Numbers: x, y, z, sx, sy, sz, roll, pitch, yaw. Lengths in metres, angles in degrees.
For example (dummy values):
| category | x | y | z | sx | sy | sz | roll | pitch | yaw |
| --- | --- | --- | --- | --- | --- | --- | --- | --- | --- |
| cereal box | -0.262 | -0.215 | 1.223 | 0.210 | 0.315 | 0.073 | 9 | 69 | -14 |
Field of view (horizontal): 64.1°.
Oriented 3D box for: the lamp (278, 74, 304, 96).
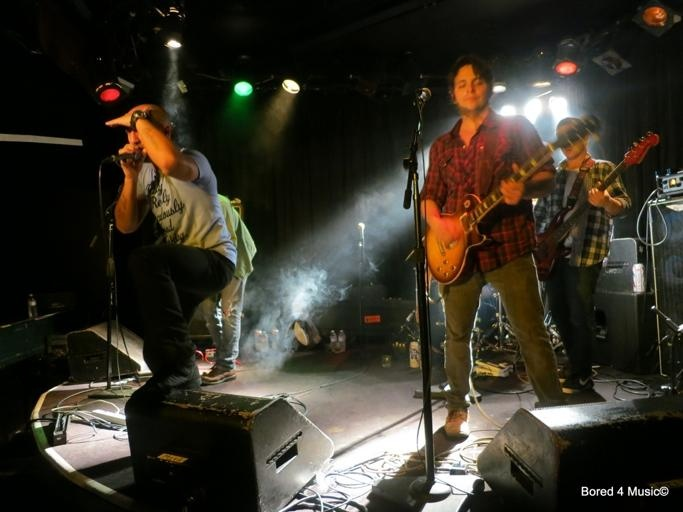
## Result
| category | x | y | z | sx | sy | sz | roll | pitch | yaw |
| --- | --- | --- | --- | --- | --- | --- | --- | --- | --- |
| lamp | -0.698 | -2.333 | 7.363 | 0.228 | 0.057 | 0.242 | 2 | -31 | 11 |

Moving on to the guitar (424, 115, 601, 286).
| category | x | y | z | sx | sy | sz | roll | pitch | yaw |
| --- | --- | --- | --- | --- | --- | --- | --- | --- | --- |
| guitar | 1.304 | -0.382 | 4.133 | 0.192 | 0.529 | 1.368 | 5 | -29 | -32 |

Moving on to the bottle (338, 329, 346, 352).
| category | x | y | z | sx | sy | sz | roll | pitch | yaw |
| --- | --- | --- | --- | --- | --- | --- | --- | --- | --- |
| bottle | -0.008 | 1.029 | 6.609 | 0.086 | 0.244 | 0.221 | -2 | -6 | 0 |

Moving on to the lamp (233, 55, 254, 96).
| category | x | y | z | sx | sy | sz | roll | pitch | yaw |
| --- | --- | --- | --- | --- | --- | --- | --- | --- | --- |
| lamp | -1.273 | -2.348 | 7.008 | 0.260 | 0.402 | 0.477 | -1 | -6 | -10 |

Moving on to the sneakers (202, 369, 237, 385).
| category | x | y | z | sx | sy | sz | roll | pitch | yaw |
| --- | --- | --- | --- | --- | --- | --- | --- | --- | --- |
| sneakers | -1.219 | 1.195 | 5.444 | 0.319 | 0.147 | 0.132 | 15 | -22 | -28 |

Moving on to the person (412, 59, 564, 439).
| category | x | y | z | sx | sy | sz | roll | pitch | yaw |
| --- | --- | --- | --- | --- | --- | --- | --- | --- | --- |
| person | 1.000 | 0.007 | 3.850 | 0.889 | 2.701 | 0.901 | -7 | 10 | 10 |

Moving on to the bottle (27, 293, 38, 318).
| category | x | y | z | sx | sy | sz | roll | pitch | yaw |
| --- | --- | --- | --- | --- | --- | --- | --- | --- | --- |
| bottle | -3.355 | 0.537 | 5.915 | 0.090 | 0.261 | 0.511 | 1 | -7 | -29 |

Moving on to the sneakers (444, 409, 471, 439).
| category | x | y | z | sx | sy | sz | roll | pitch | yaw |
| --- | --- | --- | --- | --- | --- | --- | --- | --- | --- |
| sneakers | 0.853 | 1.208 | 4.013 | 0.182 | 0.194 | 0.179 | -2 | -2 | 20 |

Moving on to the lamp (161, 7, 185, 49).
| category | x | y | z | sx | sy | sz | roll | pitch | yaw |
| --- | --- | --- | --- | --- | --- | --- | --- | --- | --- |
| lamp | -1.749 | -2.347 | 5.647 | 0.189 | 0.136 | 0.321 | -10 | -35 | -16 |

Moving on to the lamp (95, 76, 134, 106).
| category | x | y | z | sx | sy | sz | roll | pitch | yaw |
| --- | --- | --- | --- | --- | --- | --- | --- | --- | --- |
| lamp | -2.375 | -1.718 | 5.694 | 0.296 | 0.307 | 0.412 | -2 | -6 | 0 |

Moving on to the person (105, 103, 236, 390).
| category | x | y | z | sx | sy | sz | roll | pitch | yaw |
| --- | --- | --- | --- | --- | --- | --- | --- | --- | --- |
| person | -1.255 | -0.121 | 3.859 | 0.651 | 2.050 | 0.723 | -5 | -6 | 31 |
